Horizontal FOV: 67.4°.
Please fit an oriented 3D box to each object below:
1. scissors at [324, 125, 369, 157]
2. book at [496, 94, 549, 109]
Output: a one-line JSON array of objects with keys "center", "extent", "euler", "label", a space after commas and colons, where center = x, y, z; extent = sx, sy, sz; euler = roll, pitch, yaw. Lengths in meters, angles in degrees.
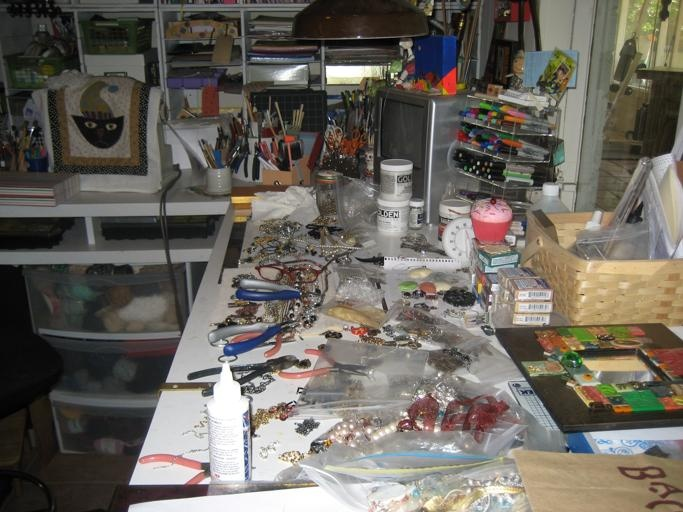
[{"center": [0.012, -0.459, 2.073], "extent": [0.158, 0.097, 0.166], "euler": [-6, 11, -37], "label": "scissors"}, {"center": [0.528, -0.452, 1.495], "extent": [0.140, 0.040, 0.031], "euler": [8, 26, 18], "label": "book"}]
